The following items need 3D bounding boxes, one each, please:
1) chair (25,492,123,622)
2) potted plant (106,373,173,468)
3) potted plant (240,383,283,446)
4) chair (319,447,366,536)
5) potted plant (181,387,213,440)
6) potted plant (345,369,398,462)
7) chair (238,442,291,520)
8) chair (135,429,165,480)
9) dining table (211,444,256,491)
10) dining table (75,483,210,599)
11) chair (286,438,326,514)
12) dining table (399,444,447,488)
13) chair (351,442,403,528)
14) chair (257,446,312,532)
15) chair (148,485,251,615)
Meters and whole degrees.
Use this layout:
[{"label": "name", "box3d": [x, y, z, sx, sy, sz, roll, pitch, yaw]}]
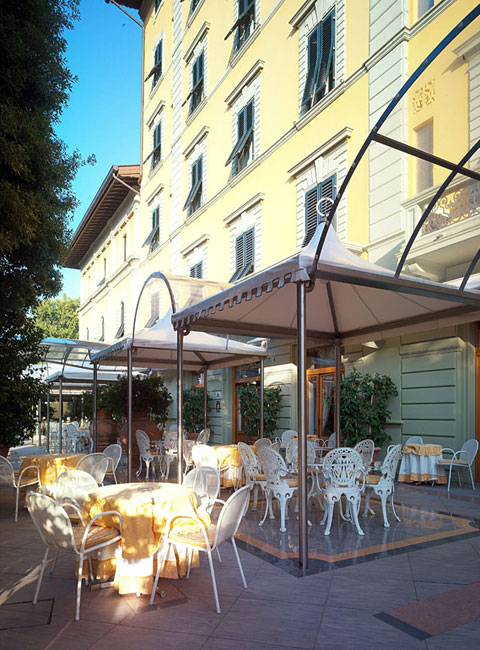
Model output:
[{"label": "chair", "box3d": [-1.146, 1.603, 3.877, 0.454, 0.916, 0.564, 0, 6, 33]}, {"label": "potted plant", "box3d": [-2.769, 2.359, 14.231, 1.493, 2.200, 1.554, -1, -6, -1]}, {"label": "potted plant", "box3d": [0.600, 2.360, 14.610, 1.035, 2.019, 1.665, 4, -9, -15]}, {"label": "chair", "box3d": [1.114, 1.782, 5.814, 0.395, 0.925, 0.559, -2, -12, 19]}, {"label": "potted plant", "box3d": [-1.485, 2.934, 18.514, 0.933, 1.647, 3.763, 0, -9, -5]}, {"label": "potted plant", "box3d": [2.497, 1.852, 10.978, 1.308, 2.010, 1.207, 1, 1, -4]}, {"label": "chair", "box3d": [0.155, 2.066, 7.382, 0.713, 1.119, 0.801, 3, -14, 16]}, {"label": "chair", "box3d": [-2.025, 2.857, 12.080, 0.627, 0.924, 3.580, 1, -9, -10]}, {"label": "dining table", "box3d": [-0.011, 2.427, 8.918, 0.828, 0.868, 0.913, 3, -8, -22]}, {"label": "dining table", "box3d": [-0.757, 1.528, 4.102, 0.674, 0.651, 0.755, 3, -5, -14]}, {"label": "chair", "box3d": [0.860, 2.088, 7.538, 0.402, 0.765, 0.519, -13, 1, 27]}, {"label": "dining table", "box3d": [3.193, 2.409, 9.456, 0.633, 0.749, 0.725, -4, -8, 26]}, {"label": "chair", "box3d": [1.551, 1.849, 6.379, 0.512, 0.861, 0.509, 4, 0, 30]}, {"label": "chair", "box3d": [0.511, 1.942, 6.384, 0.531, 0.938, 0.575, 0, -7, -7]}, {"label": "chair", "box3d": [-0.284, 1.590, 4.025, 0.590, 0.914, 0.686, 4, -2, 1]}]
